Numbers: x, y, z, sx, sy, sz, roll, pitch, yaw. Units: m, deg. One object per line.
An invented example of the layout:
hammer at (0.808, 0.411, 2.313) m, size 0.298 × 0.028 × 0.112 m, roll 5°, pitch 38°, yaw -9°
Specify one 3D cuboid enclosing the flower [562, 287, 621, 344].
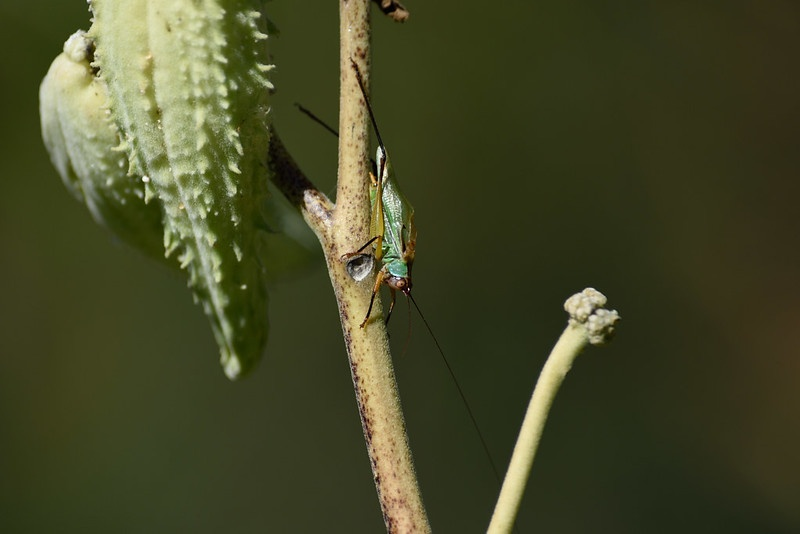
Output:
flower at (0.143, 0.039, 0.790) m, size 0.037 × 0.038 × 0.037 m, roll 20°, pitch 26°, yaw 30°
